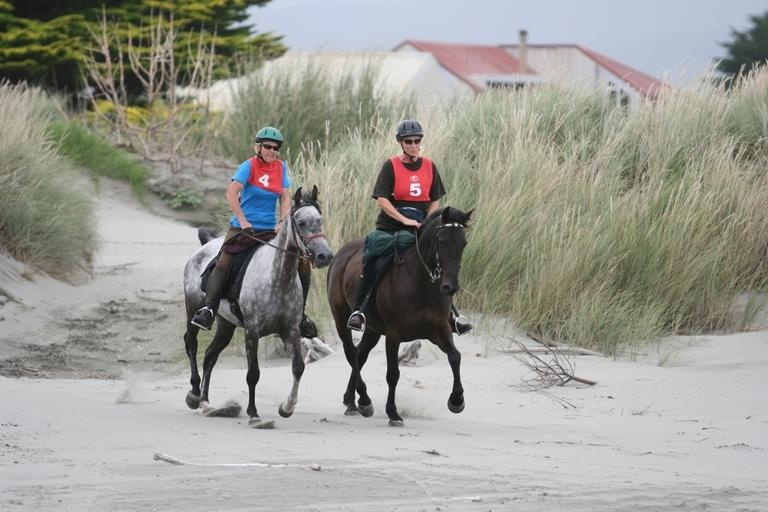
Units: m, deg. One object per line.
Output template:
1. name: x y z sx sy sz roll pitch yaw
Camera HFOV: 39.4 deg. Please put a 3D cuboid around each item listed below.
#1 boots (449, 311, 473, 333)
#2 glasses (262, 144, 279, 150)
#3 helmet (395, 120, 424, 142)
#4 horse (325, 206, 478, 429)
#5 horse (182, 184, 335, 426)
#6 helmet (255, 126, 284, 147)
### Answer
1. boots: 1.128 1.005 16.507 0.228 0.197 0.416 -8 39 -27
2. glasses: -1.736 -1.681 16.363 0.277 0.117 0.140 -2 11 -25
3. helmet: 0.381 -1.950 16.507 0.282 0.348 0.394 0 -25 -6
4. horse: 0.155 0.811 16.279 2.494 3.352 0.924 11 13 39
5. horse: -2.034 0.607 16.308 1.531 3.522 2.675 -7 14 -44
6. helmet: -1.765 -1.848 16.414 0.368 0.262 0.464 0 11 -16
